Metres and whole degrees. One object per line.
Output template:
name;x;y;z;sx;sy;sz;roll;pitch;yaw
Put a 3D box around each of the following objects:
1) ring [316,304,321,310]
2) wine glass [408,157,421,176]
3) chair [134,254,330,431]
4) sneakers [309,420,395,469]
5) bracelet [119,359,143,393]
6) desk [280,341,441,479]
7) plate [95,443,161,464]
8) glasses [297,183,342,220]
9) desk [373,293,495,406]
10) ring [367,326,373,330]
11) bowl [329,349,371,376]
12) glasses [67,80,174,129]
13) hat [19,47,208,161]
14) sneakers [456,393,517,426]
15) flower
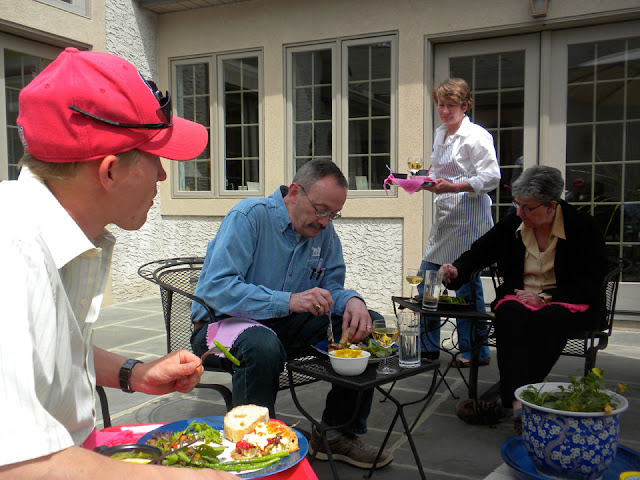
ring;-0.006;0.333;2.774;0.020;0.027;0.007;10;9;26
wine glass;0.816;-0.643;4.856;0.140;0.213;0.148;0;-1;0
chair;-0.459;0.593;3.453;0.989;0.902;1.349;1;-1;11
sneakers;0.183;1.084;2.958;0.557;0.238;0.207;5;0;9
bracelet;-0.606;0.432;1.771;0.053;0.088;0.089;20;-23;16
desk;0.206;0.773;2.775;0.668;0.741;0.778;-2;-2;37
plate;-0.517;0.580;1.498;0.130;0.025;0.085;6;9;-2
glasses;-0.011;-0.203;2.969;0.055;0.190;0.188;-34;-19;15
desk;0.773;0.609;3.818;0.860;0.808;0.670;0;-4;14
ring;0.260;0.458;2.898;0.024;0.017;0.006;4;7;-13
bowl;0.131;0.549;2.505;0.179;0.101;0.139;1;6;3
glasses;-0.520;-0.344;1.448;0.191;0.047;0.153;8;27;6
hat;-0.519;-0.311;1.468;0.459;0.238;0.301;-2;24;-25
sneakers;1.015;1.045;3.428;0.255;0.092;0.184;1;0;-8
flower;1.217;0.736;2.721;0.539;0.230;0.544;-1;-2;4
